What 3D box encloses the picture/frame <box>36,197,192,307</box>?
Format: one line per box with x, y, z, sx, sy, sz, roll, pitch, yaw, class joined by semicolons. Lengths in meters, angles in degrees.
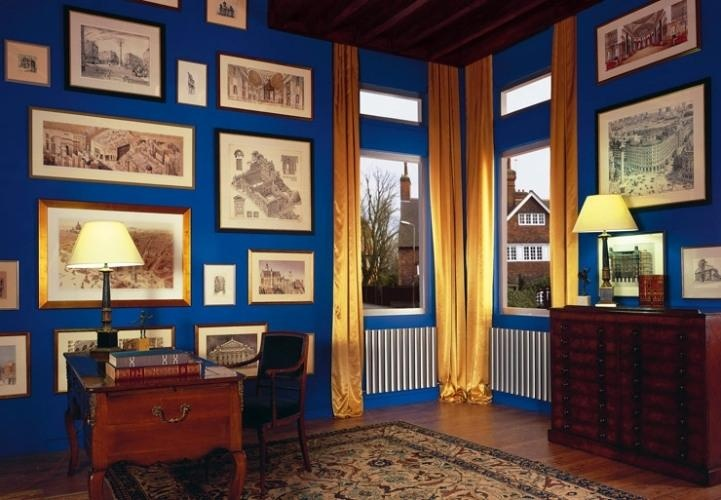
-2.539;0.026;5.860;1.133;0.818;0.037;2;-5;-29;picture/frame

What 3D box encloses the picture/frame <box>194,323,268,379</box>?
-1.354;1.034;5.996;0.577;0.412;0.025;3;-6;-32;picture/frame

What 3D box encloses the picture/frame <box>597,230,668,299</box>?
2.769;0.149;5.910;0.029;0.690;0.669;3;-4;-34;picture/frame

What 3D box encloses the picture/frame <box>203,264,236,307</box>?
-1.585;0.395;6.483;0.458;0.590;0.023;1;-3;-30;picture/frame

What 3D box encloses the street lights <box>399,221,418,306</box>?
0.632;0.174;7.697;0.298;1.140;0.186;-1;3;-9;street lights

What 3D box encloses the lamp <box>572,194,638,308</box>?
2.535;-0.015;6.005;0.578;1.115;0.507;-3;4;-34;lamp

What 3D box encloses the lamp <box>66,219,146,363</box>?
-2.366;0.339;5.369;0.578;1.206;0.837;-2;4;-32;lamp

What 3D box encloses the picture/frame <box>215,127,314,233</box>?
-1.159;-0.792;6.715;1.196;1.165;0.051;2;-6;-29;picture/frame

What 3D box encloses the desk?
-1.750;1.251;4.820;0.978;0.919;1.459;1;-5;-29;desk

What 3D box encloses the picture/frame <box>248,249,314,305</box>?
-0.961;0.312;6.767;0.635;0.515;0.029;2;-5;-28;picture/frame
